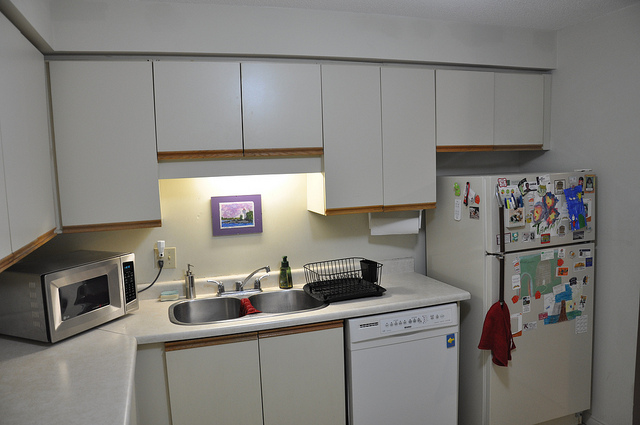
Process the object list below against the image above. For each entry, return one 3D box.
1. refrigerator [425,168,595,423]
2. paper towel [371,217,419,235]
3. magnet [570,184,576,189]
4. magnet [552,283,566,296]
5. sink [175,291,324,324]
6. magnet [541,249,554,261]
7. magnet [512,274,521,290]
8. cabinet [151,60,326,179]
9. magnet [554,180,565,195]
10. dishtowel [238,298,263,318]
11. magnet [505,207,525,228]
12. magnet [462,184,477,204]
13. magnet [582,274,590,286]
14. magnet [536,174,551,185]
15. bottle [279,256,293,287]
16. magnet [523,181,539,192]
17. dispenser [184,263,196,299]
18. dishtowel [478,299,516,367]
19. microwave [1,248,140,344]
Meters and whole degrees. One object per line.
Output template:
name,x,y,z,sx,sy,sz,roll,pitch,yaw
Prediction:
refrigerator,1.483,0.560,3.949,1.107,2.182,0.919,-3,4,-14
paper towel,0.610,0.104,3.795,0.387,0.136,0.073,-1,5,6
magnet,1.899,-0.199,3.509,0.038,0.020,0.009,0,6,2
magnet,1.800,0.573,3.531,0.095,0.067,0.013,-4,6,-14
sink,-0.540,0.716,3.513,1.047,0.181,0.215,-2,5,-5
magnet,1.684,0.310,3.473,0.082,0.059,0.012,-4,6,-17
magnet,1.439,0.505,3.426,0.062,0.103,0.013,-4,5,-21
cabinet,-0.595,-0.690,3.294,1.237,0.838,0.544,-1,10,-17
magnet,1.782,-0.190,3.476,0.092,0.108,0.018,-4,6,-27
dishtowel,-0.536,0.691,3.459,0.116,0.078,0.148,-2,5,-27
magnet,1.403,0.030,3.380,0.136,0.129,0.074,-1,8,-5
magnet,1.111,-0.142,3.466,0.035,0.144,0.109,-4,8,-23
magnet,2.052,0.516,3.606,0.021,0.077,0.077,8,6,40
magnet,1.638,-0.242,3.432,0.112,0.068,0.021,-4,5,-24
bottle,-0.271,0.462,3.689,0.105,0.241,0.102,-2,5,0
magnet,1.538,-0.195,3.408,0.085,0.062,0.033,-3,-4,-8
dispenser,-0.986,0.516,3.545,0.070,0.246,0.114,-3,5,-18
dishtowel,1.291,0.867,3.369,0.268,0.430,0.096,-2,5,-6
microwave,-1.655,0.417,3.085,0.519,0.462,0.725,1,7,18
